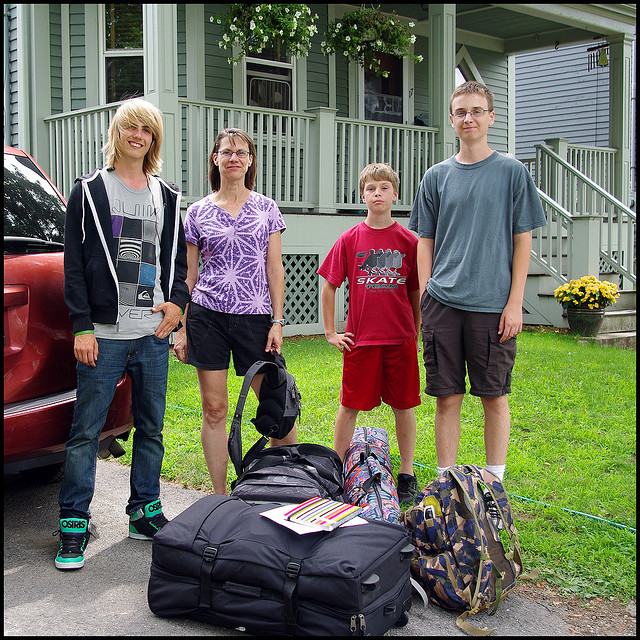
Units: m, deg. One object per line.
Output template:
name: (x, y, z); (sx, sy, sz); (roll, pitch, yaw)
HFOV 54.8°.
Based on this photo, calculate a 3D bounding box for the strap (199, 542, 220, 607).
strap: (-0.378, 0.893, 2.164); (0.050, 0.216, 0.104); (7, 12, 14)

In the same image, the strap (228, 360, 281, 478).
strap: (-0.313, 0.452, 2.797); (0.267, 0.490, 0.249); (2, 14, -16)

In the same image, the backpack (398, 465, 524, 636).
backpack: (0.518, 0.803, 2.415); (0.529, 0.484, 0.534); (9, 9, 16)

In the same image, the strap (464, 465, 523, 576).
strap: (0.714, 0.801, 2.503); (0.265, 0.453, 0.229); (-6, 6, 25)

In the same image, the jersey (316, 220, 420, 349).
jersey: (0.306, -0.223, 3.492); (0.556, 0.730, 0.278); (1, 23, 5)

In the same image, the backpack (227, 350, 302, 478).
backpack: (-0.280, 0.478, 3.056); (0.427, 0.631, 0.335); (-4, 17, -39)

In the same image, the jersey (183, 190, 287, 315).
jersey: (-0.423, -0.313, 3.117); (0.463, 0.677, 0.237); (0, -9, -11)

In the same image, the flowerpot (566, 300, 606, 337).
flowerpot: (3.561, 0.006, 8.272); (0.395, 0.438, 0.444); (1, -4, -1)

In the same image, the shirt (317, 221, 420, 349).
shirt: (0.290, -0.174, 3.451); (0.544, 0.749, 0.259); (1, -11, 1)

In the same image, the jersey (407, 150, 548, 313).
jersey: (0.787, -0.442, 3.103); (0.632, 0.780, 0.271); (4, 7, 17)

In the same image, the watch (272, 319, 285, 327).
watch: (-0.221, 0.014, 3.301); (0.054, 0.033, 0.052); (-14, 5, -7)

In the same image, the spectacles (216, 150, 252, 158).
spectacles: (-0.410, -0.796, 2.974); (0.133, 0.036, 0.046); (-1, 8, -19)

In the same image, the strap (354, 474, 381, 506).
strap: (0.226, 0.786, 2.842); (0.101, 0.026, 0.106); (-41, 7, 18)

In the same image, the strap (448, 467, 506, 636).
strap: (0.571, 0.825, 2.274); (0.204, 0.473, 0.285); (2, 7, 9)

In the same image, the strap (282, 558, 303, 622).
strap: (-0.100, 0.881, 2.001); (0.063, 0.133, 0.105); (6, 0, 12)

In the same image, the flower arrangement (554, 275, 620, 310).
flower arrangement: (3.499, -0.341, 8.154); (0.757, 0.450, 0.337); (6, 8, 29)

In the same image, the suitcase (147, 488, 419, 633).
suitcase: (-0.158, 0.888, 2.213); (0.939, 0.378, 0.396); (5, 8, 20)

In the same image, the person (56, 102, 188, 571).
person: (-0.876, 0.045, 2.736); (0.233, 1.977, 0.662); (7, 9, 43)

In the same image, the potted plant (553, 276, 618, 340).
potted plant: (3.571, -0.189, 8.355); (0.647, 0.850, 0.776); (12, 24, 40)

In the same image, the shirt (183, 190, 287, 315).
shirt: (-0.421, -0.335, 3.089); (0.498, 0.597, 0.281); (0, 7, -14)

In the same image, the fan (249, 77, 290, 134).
fan: (-0.798, -3.656, 9.987); (0.735, 0.463, 0.078); (-4, 8, -36)
